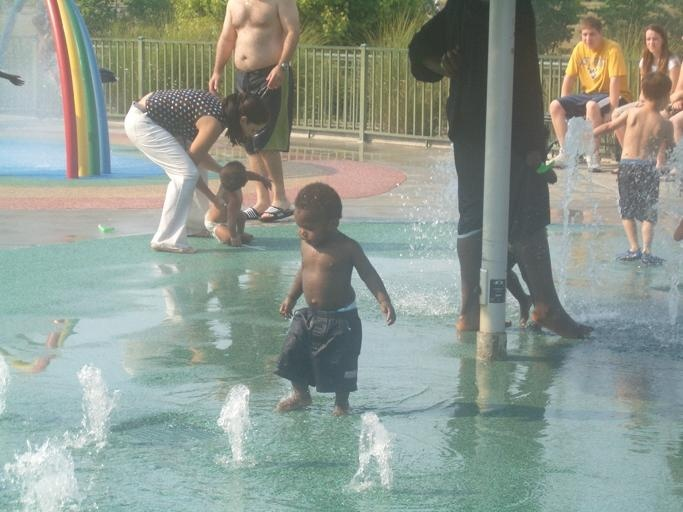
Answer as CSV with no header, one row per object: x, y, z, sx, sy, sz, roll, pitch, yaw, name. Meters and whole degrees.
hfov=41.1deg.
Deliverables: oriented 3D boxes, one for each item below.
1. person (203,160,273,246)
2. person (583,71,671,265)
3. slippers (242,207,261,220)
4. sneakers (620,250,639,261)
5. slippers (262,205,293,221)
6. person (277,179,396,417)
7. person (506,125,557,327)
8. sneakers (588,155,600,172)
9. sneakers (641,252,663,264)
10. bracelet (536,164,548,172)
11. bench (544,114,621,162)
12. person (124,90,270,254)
-0.997,-0.526,8.340,0.466,0.776,0.607,11,33,2,person
2.530,-0.772,7.785,0.580,1.544,0.665,5,15,17,person
-0.970,-0.449,9.525,0.262,0.099,0.092,2,4,-21,slippers
2.473,-0.005,7.772,0.150,0.058,0.085,0,11,12,sneakers
-0.652,-0.446,9.590,0.133,0.117,0.373,0,4,37,slippers
-0.047,0.218,4.630,0.554,1.112,0.338,-1,14,-4,person
1.188,-0.203,5.975,0.339,1.275,0.324,6,11,12,person
3.678,-1.337,13.227,0.147,0.222,0.235,0,-2,-1,sneakers
2.671,0.020,7.722,0.262,0.099,0.079,-9,14,-32,sneakers
1.243,-0.538,5.610,0.013,0.049,0.052,7,31,-44,bracelet
4.032,-1.968,15.109,0.032,0.836,1.474,-24,21,-39,bench
-1.274,-0.748,7.971,0.851,1.354,1.178,-9,17,-33,person
